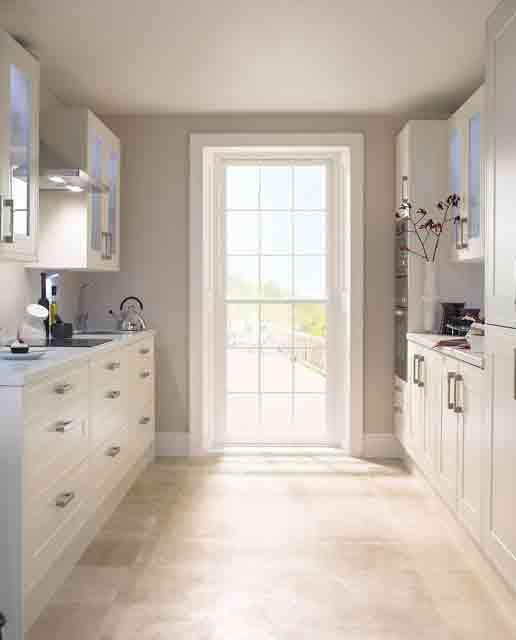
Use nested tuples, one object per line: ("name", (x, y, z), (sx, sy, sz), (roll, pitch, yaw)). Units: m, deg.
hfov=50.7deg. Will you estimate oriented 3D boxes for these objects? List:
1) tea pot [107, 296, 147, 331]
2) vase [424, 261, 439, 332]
("tea pot", (-0.885, -0.035, 3.759), (0.292, 0.293, 0.187), (4, 4, 45))
("vase", (1.076, -0.146, 3.388), (0.085, 0.434, 0.040), (1, 4, 19))
